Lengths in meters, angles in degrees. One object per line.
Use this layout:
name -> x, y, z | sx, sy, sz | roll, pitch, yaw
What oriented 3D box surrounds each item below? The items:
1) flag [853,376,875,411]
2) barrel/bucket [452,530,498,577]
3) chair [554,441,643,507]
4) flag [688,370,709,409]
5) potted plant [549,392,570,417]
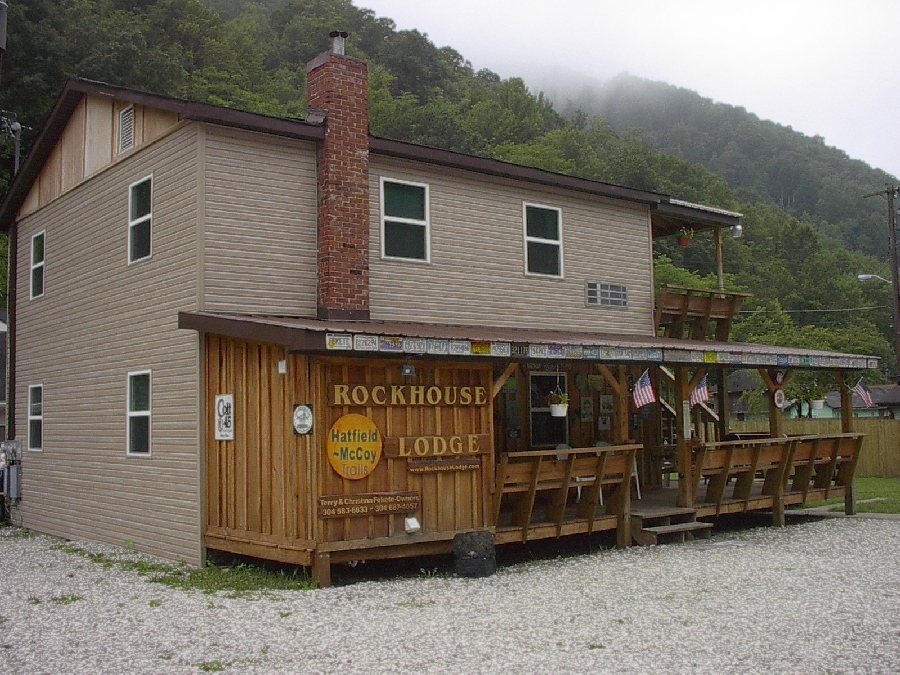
flag -> 30.898, 4.239, 67.963 | 1.370, 2.045, 3.823 | -1, -1, 24
barrel/bucket -> 0.411, 3.347, 14.250 | 0.621, 0.638, 0.608 | 1, -1, 0
chair -> 2.647, 2.511, 16.615 | 1.155, 1.665, 1.069 | 1, -15, -1
flag -> 5.203, 1.115, 19.176 | 0.080, 1.148, 1.117 | 1, -4, 32
potted plant -> 2.226, 1.359, 18.622 | 0.444, 0.364, 0.459 | 2, -12, -5
